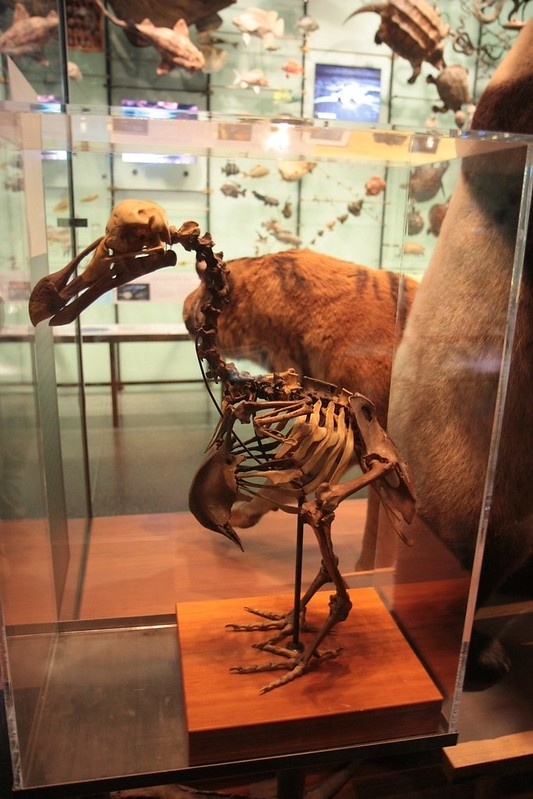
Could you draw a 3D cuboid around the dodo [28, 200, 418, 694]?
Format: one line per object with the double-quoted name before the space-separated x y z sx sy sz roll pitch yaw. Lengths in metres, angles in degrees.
"dodo" -0.067 0.097 1.658 0.818 1.106 0.503 10 24 22
